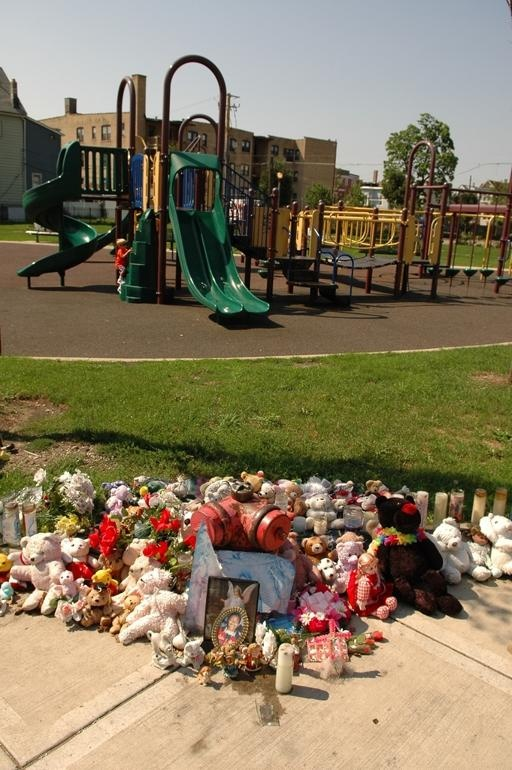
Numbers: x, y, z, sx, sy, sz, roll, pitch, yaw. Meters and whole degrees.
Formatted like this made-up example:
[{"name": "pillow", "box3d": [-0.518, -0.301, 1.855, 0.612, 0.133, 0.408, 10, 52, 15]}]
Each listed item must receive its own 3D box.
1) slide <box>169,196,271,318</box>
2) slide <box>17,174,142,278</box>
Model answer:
[{"name": "slide", "box3d": [-0.947, -2.990, 12.666, 1.410, 2.478, 2.982, -2, 14, -24]}, {"name": "slide", "box3d": [-5.377, -4.597, 17.469, 2.667, 2.817, 5.242, 1, 13, -13]}]
